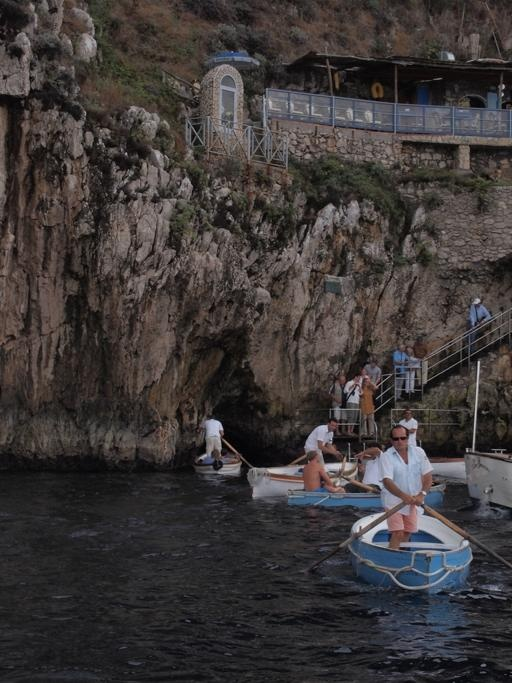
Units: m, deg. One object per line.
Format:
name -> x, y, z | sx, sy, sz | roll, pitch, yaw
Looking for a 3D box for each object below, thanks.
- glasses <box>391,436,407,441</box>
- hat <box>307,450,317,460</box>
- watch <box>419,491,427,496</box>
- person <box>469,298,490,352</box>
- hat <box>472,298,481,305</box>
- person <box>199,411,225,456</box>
glasses -> 2.802, 1.924, 33.842 | 0.283, 0.105, 0.115 | -1, 14, 10
hat -> 1.290, 2.659, 40.497 | 0.186, 0.242, 0.244 | 2, 41, 12
watch -> 3.257, 2.983, 33.609 | 0.077, 0.093, 0.081 | 11, -9, 9
person -> 6.463, -0.569, 49.825 | 0.646, 1.380, 1.747 | -1, 14, 8
hat -> 6.393, -1.187, 49.853 | 0.165, 0.155, 0.263 | 2, 4, 27
person -> -1.176, 2.652, 46.095 | 0.472, 1.392, 0.480 | 5, -33, -10
